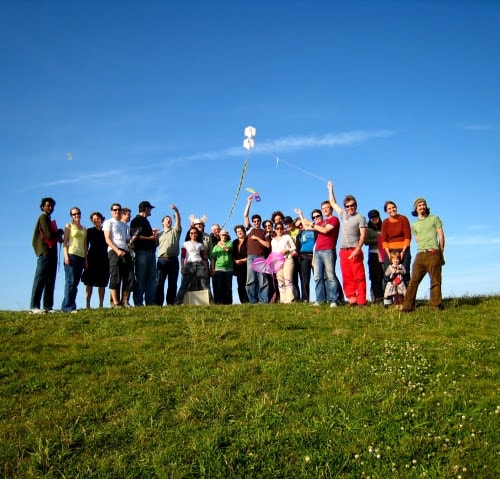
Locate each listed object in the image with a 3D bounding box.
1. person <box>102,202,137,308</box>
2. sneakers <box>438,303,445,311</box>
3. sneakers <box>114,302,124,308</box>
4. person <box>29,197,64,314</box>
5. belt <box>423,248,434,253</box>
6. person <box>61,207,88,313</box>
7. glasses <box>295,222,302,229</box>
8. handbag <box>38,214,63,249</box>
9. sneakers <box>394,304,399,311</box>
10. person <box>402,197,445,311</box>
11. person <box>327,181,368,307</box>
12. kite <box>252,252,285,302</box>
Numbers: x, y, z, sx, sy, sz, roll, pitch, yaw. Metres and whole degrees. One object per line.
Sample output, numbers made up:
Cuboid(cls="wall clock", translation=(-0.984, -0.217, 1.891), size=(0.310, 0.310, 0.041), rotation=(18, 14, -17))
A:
Cuboid(cls="person", translation=(-3.200, 0.393, 10.720), size=(0.694, 2.492, 1.030), rotation=(-3, 9, -21))
Cuboid(cls="sneakers", translation=(4.177, 1.469, 9.613), size=(0.051, 0.120, 0.195), rotation=(-3, -26, 13))
Cuboid(cls="sneakers", translation=(-3.153, 1.558, 10.502), size=(0.100, 0.152, 0.273), rotation=(8, -11, -36))
Cuboid(cls="person", translation=(-4.714, 0.362, 9.980), size=(0.467, 2.507, 0.845), rotation=(2, 9, 14))
Cuboid(cls="belt", translation=(3.860, 0.228, 9.474), size=(0.019, 0.101, 0.218), rotation=(-8, 13, -41))
Cuboid(cls="person", translation=(-4.126, 0.426, 10.157), size=(0.494, 2.303, 1.060), rotation=(-1, 9, -5))
Cuboid(cls="glasses", translation=(1.421, -0.441, 12.899), size=(0.068, 0.166, 0.193), rotation=(-11, 23, -15))
Cuboid(cls="handbag", translation=(-4.406, -0.148, 9.519), size=(0.176, 0.653, 0.593), rotation=(-9, 19, 29))
Cuboid(cls="sneakers", translation=(3.295, 1.509, 9.861), size=(0.111, 0.146, 0.081), rotation=(7, -15, 9))
Cuboid(cls="person", translation=(3.824, 0.365, 9.608), size=(0.809, 2.436, 0.902), rotation=(2, 9, 12))
Cuboid(cls="person", translation=(2.390, 0.222, 10.577), size=(0.503, 2.495, 1.224), rotation=(-4, 10, -24))
Cuboid(cls="kite", translation=(0.478, 0.970, 12.036), size=(1.077, 0.870, 0.395), rotation=(-18, 16, 13))
